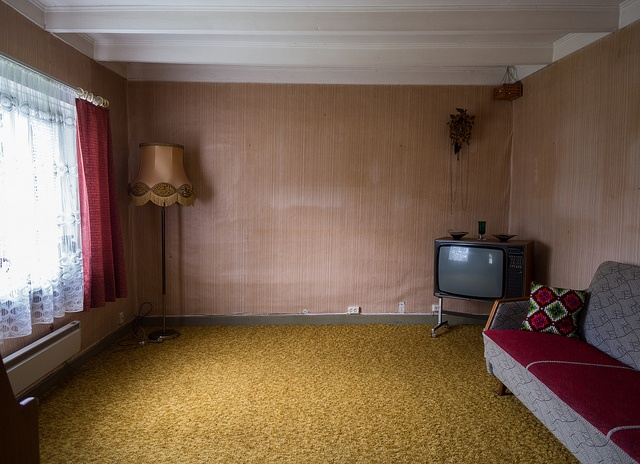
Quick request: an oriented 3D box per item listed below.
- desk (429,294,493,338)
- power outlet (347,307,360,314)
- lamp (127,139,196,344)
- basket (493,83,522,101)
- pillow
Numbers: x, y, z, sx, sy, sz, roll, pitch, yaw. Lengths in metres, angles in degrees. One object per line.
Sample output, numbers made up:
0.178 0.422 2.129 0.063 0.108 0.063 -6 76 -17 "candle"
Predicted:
1.428 0.864 4.791 0.622 0.482 0.400 0 7 13 "desk"
0.360 0.846 5.038 0.090 0.056 0.091 -1 -6 5 "power outlet"
-1.503 0.095 4.562 0.537 1.911 0.553 0 3 20 "lamp"
1.941 -1.483 4.831 0.261 0.157 0.292 0 3 9 "basket"
1.811 0.553 3.650 0.440 0.466 0.140 -7 34 7 "pillow"
